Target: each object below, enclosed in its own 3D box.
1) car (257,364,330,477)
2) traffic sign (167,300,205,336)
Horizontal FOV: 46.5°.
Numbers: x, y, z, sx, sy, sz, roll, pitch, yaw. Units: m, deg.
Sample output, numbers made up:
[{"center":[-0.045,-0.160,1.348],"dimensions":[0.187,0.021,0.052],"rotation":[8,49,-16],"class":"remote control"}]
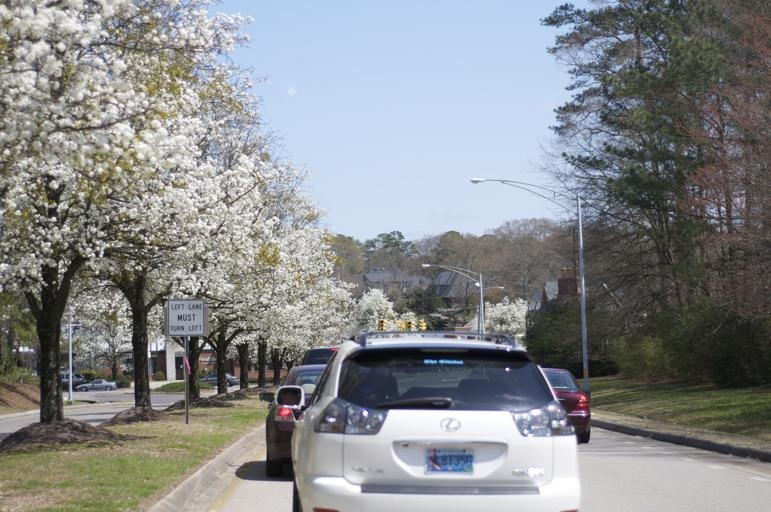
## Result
[{"center":[-2.164,3.758,19.919],"dimensions":[1.455,1.160,2.705],"rotation":[0,-2,-2],"class":"car"},{"center":[-5.710,1.772,25.922],"dimensions":[1.096,1.087,1.026],"rotation":[1,-5,-7],"class":"traffic sign"}]
